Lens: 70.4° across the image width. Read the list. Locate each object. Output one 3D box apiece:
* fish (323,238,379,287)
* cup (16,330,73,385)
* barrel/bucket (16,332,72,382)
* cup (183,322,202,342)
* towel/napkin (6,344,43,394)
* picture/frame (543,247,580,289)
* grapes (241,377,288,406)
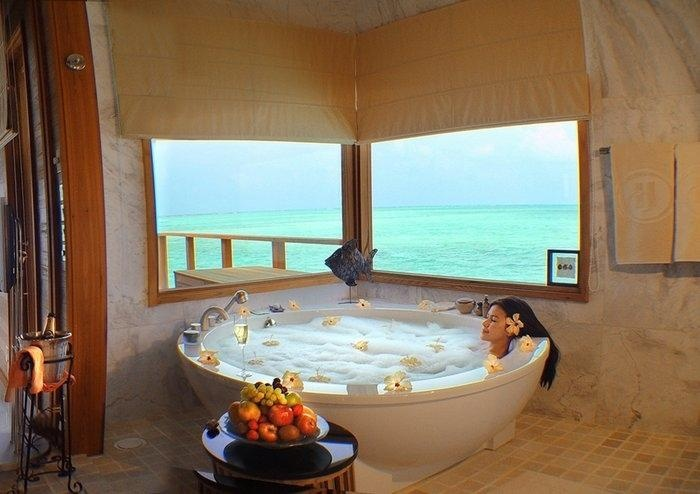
[{"bbox_3d":[0.004,0.141,4.281,0.495,0.402,0.057,-2,3,-31],"label":"fish"},{"bbox_3d":[-1.645,0.563,2.697,0.281,0.259,0.279,-1,0,0],"label":"cup"},{"bbox_3d":[-1.583,0.568,2.653,0.276,0.257,0.276,-1,2,0],"label":"barrel/bucket"},{"bbox_3d":[-1.051,0.581,3.328,0.082,0.074,0.216,1,-1,-9],"label":"cup"},{"bbox_3d":[-1.615,0.624,2.501,0.159,0.232,0.113,-4,6,-41],"label":"towel/napkin"},{"bbox_3d":[1.530,0.167,3.578,0.265,0.237,0.257,2,17,34],"label":"picture/frame"},{"bbox_3d":[-0.379,0.663,2.236,0.115,0.074,0.171,7,3,18],"label":"grapes"}]
